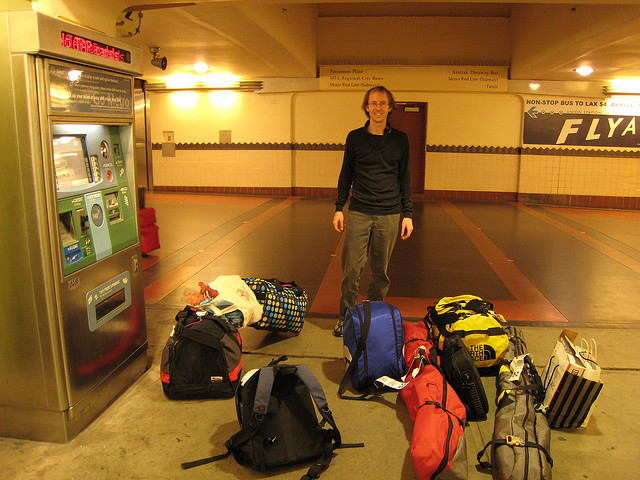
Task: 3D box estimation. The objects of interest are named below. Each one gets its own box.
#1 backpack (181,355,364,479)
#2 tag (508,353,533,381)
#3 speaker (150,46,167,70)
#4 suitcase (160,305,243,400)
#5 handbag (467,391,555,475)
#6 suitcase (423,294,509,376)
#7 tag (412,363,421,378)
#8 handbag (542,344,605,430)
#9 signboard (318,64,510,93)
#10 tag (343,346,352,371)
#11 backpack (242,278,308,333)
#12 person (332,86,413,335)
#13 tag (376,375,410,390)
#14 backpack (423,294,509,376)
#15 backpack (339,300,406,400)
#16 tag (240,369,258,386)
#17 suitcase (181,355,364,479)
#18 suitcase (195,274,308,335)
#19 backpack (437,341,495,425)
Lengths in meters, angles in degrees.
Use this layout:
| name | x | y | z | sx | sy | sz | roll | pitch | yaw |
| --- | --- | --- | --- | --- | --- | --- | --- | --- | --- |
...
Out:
| name | x | y | z | sx | sy | sz | roll | pitch | yaw |
| --- | --- | --- | --- | --- | --- | --- | --- | --- | --- |
| backpack | -0.194 | 0.994 | 2.587 | 0.807 | 0.456 | 0.577 | 6 | -20 | -26 |
| tag | 1.256 | 0.795 | 2.978 | 0.055 | 0.184 | 0.112 | 38 | -18 | -7 |
| speaker | -2.967 | -3.417 | 8.867 | 0.367 | 0.424 | 0.268 | 9 | -4 | -15 |
| suitcase | -0.784 | 0.745 | 3.293 | 0.491 | 0.536 | 0.543 | 1 | 2 | -3 |
| handbag | 1.044 | 1.058 | 2.514 | 0.300 | 0.225 | 0.598 | -10 | 3 | 18 |
| suitcase | 1.129 | 0.647 | 3.661 | 0.569 | 0.371 | 0.932 | -4 | 5 | 10 |
| tag | 0.618 | 0.830 | 3.014 | 0.027 | 0.015 | 0.105 | -16 | 26 | 46 |
| handbag | 1.518 | 0.902 | 2.829 | 0.213 | 0.403 | 0.299 | 10 | 25 | -18 |
| signboard | 2.314 | -3.987 | 11.523 | 4.469 | 0.610 | 0.207 | 1 | 15 | 2 |
| tag | 0.189 | 0.820 | 3.303 | 0.094 | 0.127 | 0.138 | 2 | -30 | 1 |
| backpack | -0.304 | 0.515 | 3.753 | 0.410 | 0.404 | 0.555 | 9 | -3 | 40 |
| person | 0.436 | -0.224 | 3.894 | 0.632 | 1.996 | 0.439 | 1 | 15 | 0 |
| tag | 0.470 | 0.912 | 3.069 | 0.140 | 0.048 | 0.078 | 21 | 20 | 36 |
| backpack | 0.907 | 0.760 | 3.685 | 0.715 | 0.410 | 0.985 | 1 | -9 | -14 |
| backpack | 0.386 | 0.741 | 3.319 | 0.513 | 0.632 | 0.411 | 3 | -6 | -11 |
| tag | -0.402 | 0.768 | 2.696 | 0.031 | 0.095 | 0.074 | 41 | 1 | 33 |
| suitcase | -0.207 | 0.964 | 2.574 | 0.680 | 0.499 | 0.432 | 7 | 16 | 21 |
| suitcase | -0.471 | 0.479 | 3.650 | 0.435 | 0.293 | 0.726 | 14 | 0 | 32 |
| backpack | 0.907 | 0.878 | 2.950 | 0.147 | 0.465 | 0.352 | -16 | 0 | 9 |
